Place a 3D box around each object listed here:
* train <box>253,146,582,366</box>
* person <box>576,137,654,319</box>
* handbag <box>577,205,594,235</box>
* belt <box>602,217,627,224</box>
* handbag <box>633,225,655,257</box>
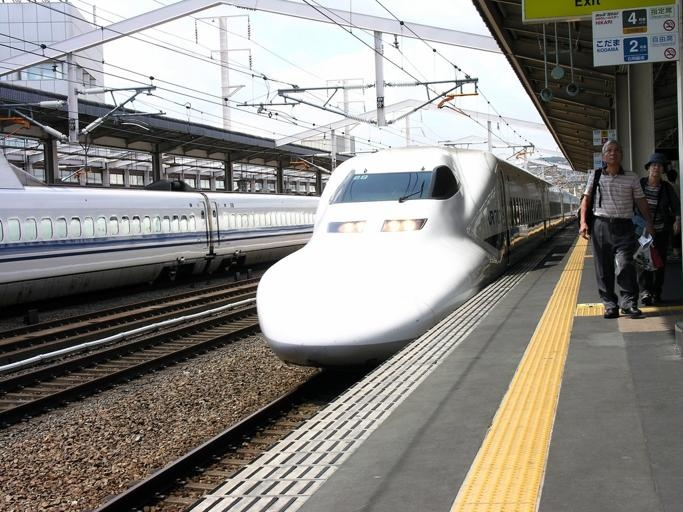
[{"bbox_3d":[1.736,-0.437,9.079,2.186,1.481,7.852,1,11,32],"label":"train"},{"bbox_3d":[2.914,-0.278,5.609,0.738,1.576,0.388,-16,4,17],"label":"person"},{"bbox_3d":[2.647,-0.424,5.813,0.134,0.154,0.519,2,29,27],"label":"handbag"},{"bbox_3d":[2.865,-0.376,5.527,0.212,0.054,0.042,-8,5,21],"label":"belt"},{"bbox_3d":[3.336,-0.170,5.823,0.198,0.357,0.382,11,4,31],"label":"handbag"}]
